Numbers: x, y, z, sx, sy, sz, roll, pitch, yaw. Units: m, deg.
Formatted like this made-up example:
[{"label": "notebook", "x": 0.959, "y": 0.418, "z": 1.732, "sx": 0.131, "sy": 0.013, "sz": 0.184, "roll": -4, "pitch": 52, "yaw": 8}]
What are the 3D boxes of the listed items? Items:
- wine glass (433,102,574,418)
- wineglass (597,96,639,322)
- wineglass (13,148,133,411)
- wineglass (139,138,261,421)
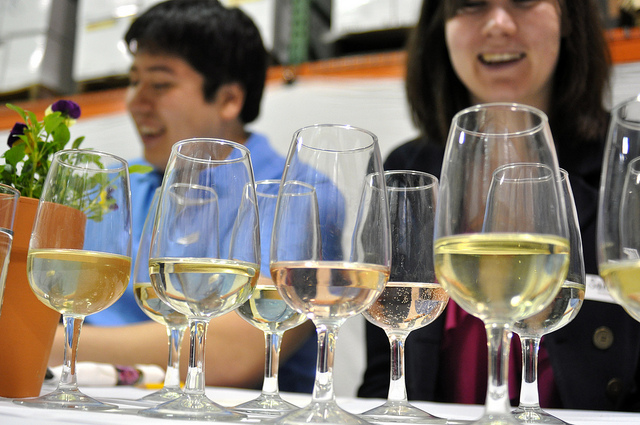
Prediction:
[{"label": "wine glass", "x": 0.211, "y": 0.051, "z": 0.775, "sx": 0.153, "sy": 0.361, "sz": 0.067, "roll": -2, "pitch": -2, "yaw": 13}, {"label": "wineglass", "x": 0.368, "y": -0.006, "z": 0.818, "sx": 0.052, "sy": 0.270, "sz": 0.044, "roll": -3, "pitch": -2, "yaw": 27}, {"label": "wineglass", "x": -0.328, "y": 0.083, "z": 0.891, "sx": 0.150, "sy": 0.351, "sz": 0.153, "roll": -1, "pitch": -2, "yaw": -17}, {"label": "wineglass", "x": -0.151, "y": 0.079, "z": 0.872, "sx": 0.146, "sy": 0.359, "sz": 0.169, "roll": -2, "pitch": -2, "yaw": 2}]
